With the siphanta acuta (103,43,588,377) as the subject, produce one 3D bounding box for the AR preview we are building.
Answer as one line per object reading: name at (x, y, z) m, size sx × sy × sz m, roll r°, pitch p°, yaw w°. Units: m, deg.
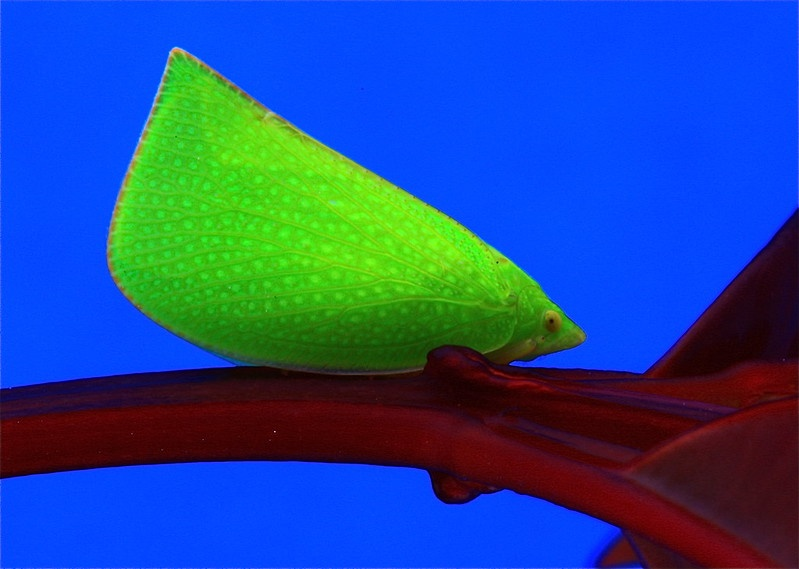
siphanta acuta at (-0.080, -0.088, 1.114) m, size 0.857 × 0.404 × 0.337 m, roll 7°, pitch -70°, yaw -40°
